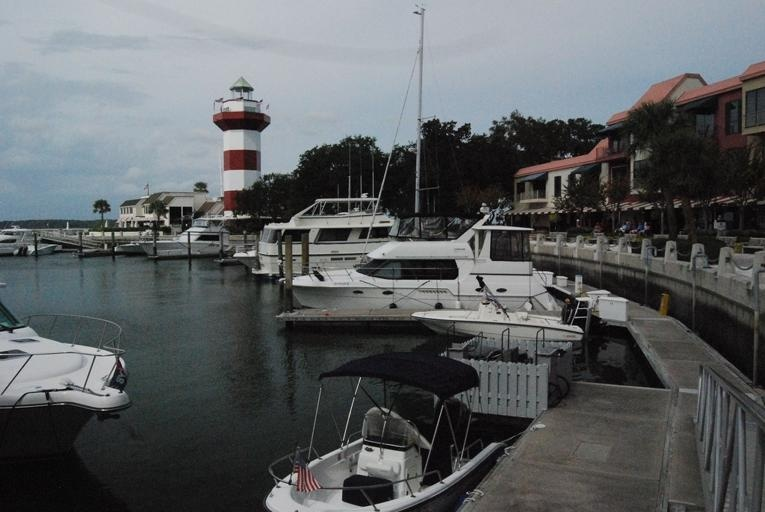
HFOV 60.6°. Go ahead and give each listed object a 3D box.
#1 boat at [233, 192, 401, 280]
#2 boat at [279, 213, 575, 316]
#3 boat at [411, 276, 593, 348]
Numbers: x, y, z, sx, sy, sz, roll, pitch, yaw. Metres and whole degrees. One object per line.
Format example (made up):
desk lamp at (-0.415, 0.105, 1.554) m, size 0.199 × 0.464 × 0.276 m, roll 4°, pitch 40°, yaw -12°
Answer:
boat at (-3.397, -1.197, 40.045) m, size 12.320 × 5.989 × 4.173 m, roll -5°, pitch 8°, yaw 2°
boat at (1.654, 0.039, 26.261) m, size 10.708 × 4.830 × 3.303 m, roll 0°, pitch 7°, yaw 2°
boat at (3.951, 1.976, 22.679) m, size 6.580 × 2.580 × 2.046 m, roll 3°, pitch 2°, yaw 18°
